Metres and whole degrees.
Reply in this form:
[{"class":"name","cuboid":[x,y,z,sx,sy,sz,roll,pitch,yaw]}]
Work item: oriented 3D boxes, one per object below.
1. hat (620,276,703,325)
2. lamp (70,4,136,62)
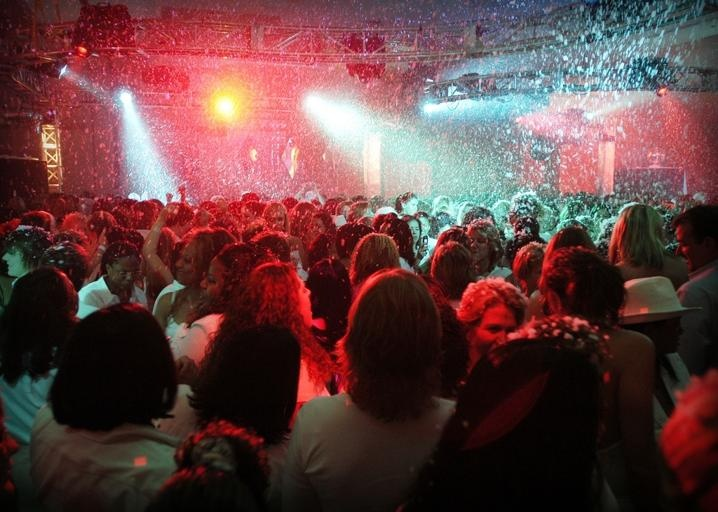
[{"class":"hat","cuboid":[1.521,0.232,2.594,0.292,0.131,0.331,-8,-10,-27]},{"class":"lamp","cuboid":[-5.747,-5.147,11.600,1.469,1.105,0.682,0,-6,0]}]
